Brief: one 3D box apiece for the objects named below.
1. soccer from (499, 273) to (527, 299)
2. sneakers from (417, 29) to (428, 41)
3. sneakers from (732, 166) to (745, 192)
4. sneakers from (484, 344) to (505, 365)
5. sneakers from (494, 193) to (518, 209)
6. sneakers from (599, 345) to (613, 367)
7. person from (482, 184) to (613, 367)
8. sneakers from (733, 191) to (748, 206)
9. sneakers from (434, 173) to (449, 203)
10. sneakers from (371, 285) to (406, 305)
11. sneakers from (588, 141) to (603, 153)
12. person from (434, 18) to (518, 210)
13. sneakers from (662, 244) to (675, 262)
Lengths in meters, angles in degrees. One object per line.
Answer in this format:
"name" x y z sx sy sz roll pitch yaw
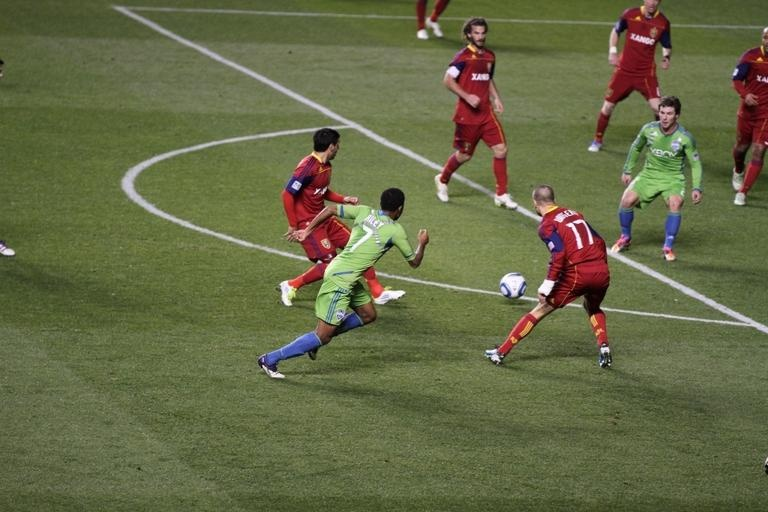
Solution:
"soccer" 1.929 0.435 19.689 0.403 0.342 0.377 -6 -22 20
"sneakers" 0.860 -4.863 30.049 0.256 0.231 0.342 3 18 1
"sneakers" 6.213 -1.322 23.849 0.173 0.414 0.195 1 -16 10
"sneakers" 1.461 1.341 18.399 0.193 0.122 0.369 -47 46 -7
"sneakers" 2.058 -0.906 22.764 0.488 0.223 0.178 13 24 30
"sneakers" 2.966 1.359 18.207 0.142 0.146 0.352 3 15 8
"person" 2.419 0.261 18.379 1.508 2.309 1.089 4 19 4
"sneakers" 6.090 -0.952 23.269 0.178 0.173 0.280 -1 6 10
"sneakers" 0.970 -1.115 22.929 0.197 0.494 0.232 -14 3 -4
"sneakers" 0.028 0.585 19.505 0.536 0.225 0.181 -17 12 8
"sneakers" 3.908 -2.005 25.182 0.170 0.113 0.289 3 15 17
"person" 1.547 -2.318 22.446 1.269 3.094 0.708 3 20 1
"sneakers" 4.454 -0.027 21.193 0.198 0.215 0.203 5 18 8
